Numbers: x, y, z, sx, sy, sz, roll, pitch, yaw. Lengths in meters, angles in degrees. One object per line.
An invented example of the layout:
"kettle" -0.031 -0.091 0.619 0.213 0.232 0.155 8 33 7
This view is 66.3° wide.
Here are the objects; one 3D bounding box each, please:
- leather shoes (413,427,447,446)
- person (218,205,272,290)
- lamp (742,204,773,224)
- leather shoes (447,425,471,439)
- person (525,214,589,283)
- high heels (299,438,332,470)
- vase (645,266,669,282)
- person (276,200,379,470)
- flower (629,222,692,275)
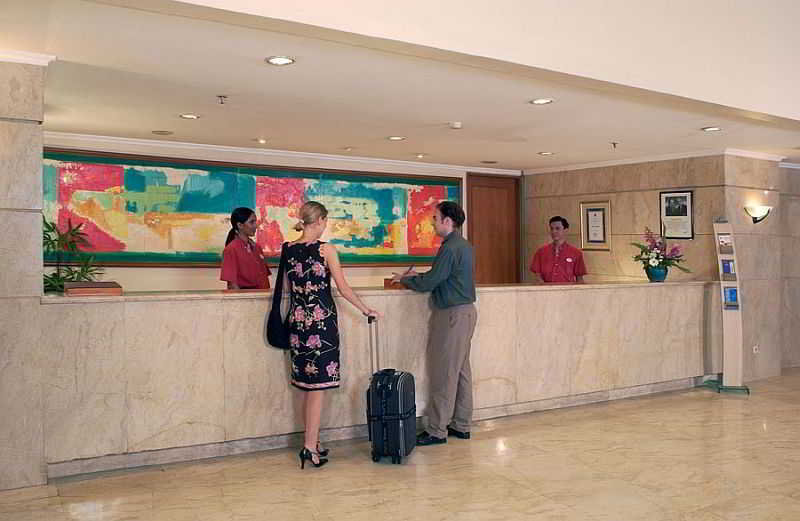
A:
"leather shoes" 0.300 1.795 6.201 0.311 0.115 0.122 6 -5 -20
"person" -1.839 -0.143 7.279 0.662 0.988 0.597 -5 10 -34
"lamp" 5.236 -0.725 9.011 0.359 0.214 0.380 -1 -2 39
"leather shoes" 0.598 1.780 6.439 0.274 0.100 0.099 9 9 44
"person" 2.365 -0.177 9.184 0.334 0.978 0.694 -7 11 -43
"high heels" -0.787 1.821 5.781 0.133 0.162 0.379 2 2 27
"vase" 3.573 0.178 8.538 0.241 0.167 0.243 -4 -4 44
"person" -0.854 0.678 5.705 0.679 2.440 0.498 5 10 28
"flower" 3.719 -0.152 8.913 0.926 0.666 0.704 -8 11 -39
